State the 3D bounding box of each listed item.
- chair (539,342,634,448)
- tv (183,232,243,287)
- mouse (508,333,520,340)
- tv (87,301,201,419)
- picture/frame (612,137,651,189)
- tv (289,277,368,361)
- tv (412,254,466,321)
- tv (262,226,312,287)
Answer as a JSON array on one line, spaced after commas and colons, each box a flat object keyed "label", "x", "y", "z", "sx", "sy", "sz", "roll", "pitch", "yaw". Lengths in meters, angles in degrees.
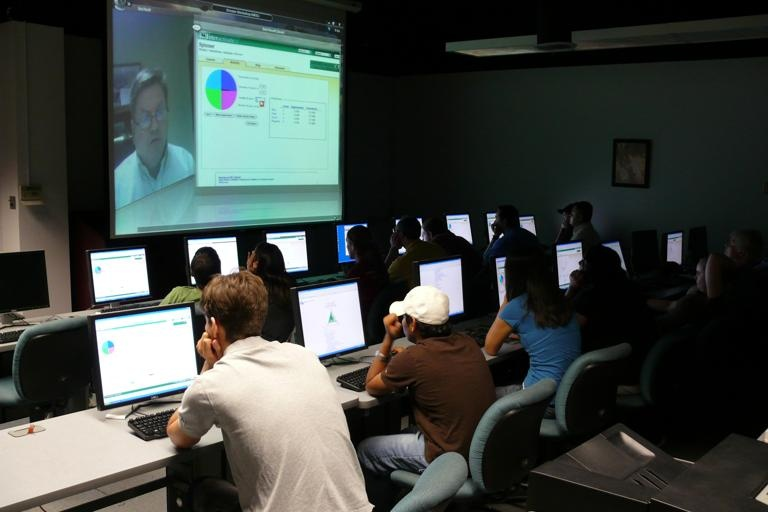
[{"label": "chair", "x": 1.230, "y": 0.875, "z": 3.430, "sx": 0.549, "sy": 0.640, "sz": 0.260, "roll": -6, "pitch": 6, "yaw": -16}, {"label": "tv", "x": -1.358, "y": 0.014, "z": 4.363, "sx": 0.507, "sy": 0.500, "sz": 0.035, "roll": -4, "pitch": 3, "yaw": -40}, {"label": "mouse", "x": 0.945, "y": 0.593, "z": 4.067, "sx": 0.090, "sy": 0.023, "sz": 0.100, "roll": -1, "pitch": 16, "yaw": 6}, {"label": "tv", "x": -1.254, "y": 0.562, "z": 2.907, "sx": 0.667, "sy": 0.558, "sz": 0.229, "roll": -6, "pitch": -3, "yaw": -34}, {"label": "picture/frame", "x": 3.165, "y": -1.207, "z": 7.054, "sx": 0.049, "sy": 0.712, "sz": 0.607, "roll": -9, "pitch": 14, "yaw": -40}, {"label": "tv", "x": -0.360, "y": 0.409, "z": 3.477, "sx": 0.523, "sy": 0.476, "sz": 0.184, "roll": -2, "pitch": -12, "yaw": -43}, {"label": "tv", "x": 0.385, "y": 0.216, "z": 3.833, "sx": 0.515, "sy": 0.495, "sz": 0.052, "roll": -3, "pitch": 3, "yaw": -41}, {"label": "tv", "x": -0.898, "y": -0.006, "z": 5.036, "sx": 0.582, "sy": 0.653, "sz": 0.089, "roll": -6, "pitch": 6, "yaw": -40}]
